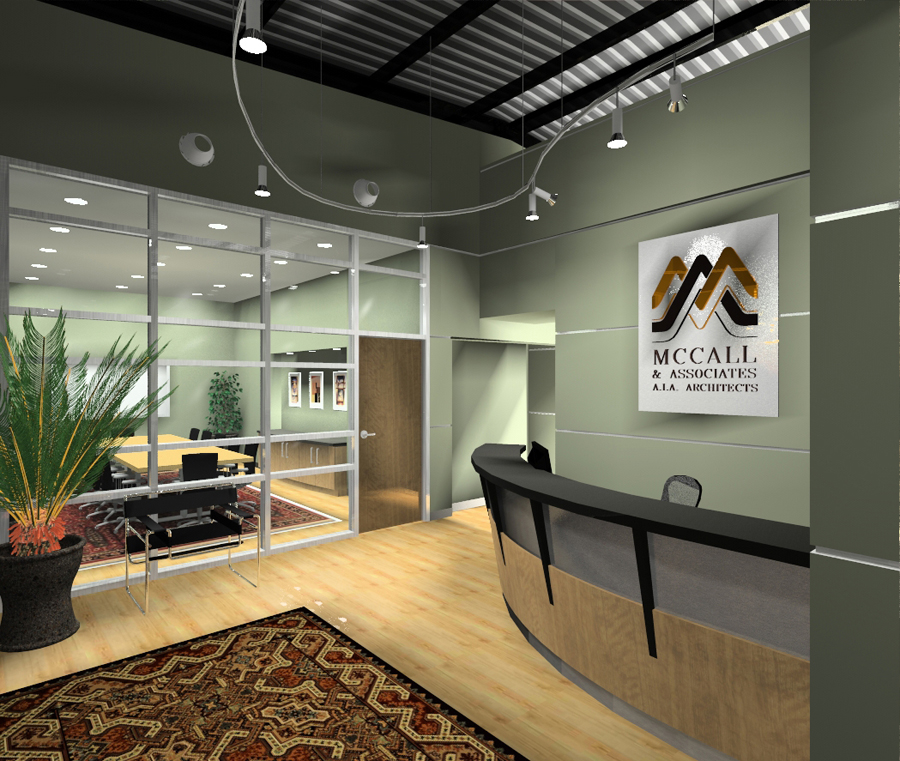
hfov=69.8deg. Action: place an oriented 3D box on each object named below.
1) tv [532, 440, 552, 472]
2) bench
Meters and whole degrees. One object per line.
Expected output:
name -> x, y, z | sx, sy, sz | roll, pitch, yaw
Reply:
tv -> 0.621, 0.541, 4.475 | 0.145, 0.167, 0.396 | 1, 2, 7
bench -> -2.214, 1.143, 5.254 | 0.941, 0.250, 1.059 | -2, 4, -13
